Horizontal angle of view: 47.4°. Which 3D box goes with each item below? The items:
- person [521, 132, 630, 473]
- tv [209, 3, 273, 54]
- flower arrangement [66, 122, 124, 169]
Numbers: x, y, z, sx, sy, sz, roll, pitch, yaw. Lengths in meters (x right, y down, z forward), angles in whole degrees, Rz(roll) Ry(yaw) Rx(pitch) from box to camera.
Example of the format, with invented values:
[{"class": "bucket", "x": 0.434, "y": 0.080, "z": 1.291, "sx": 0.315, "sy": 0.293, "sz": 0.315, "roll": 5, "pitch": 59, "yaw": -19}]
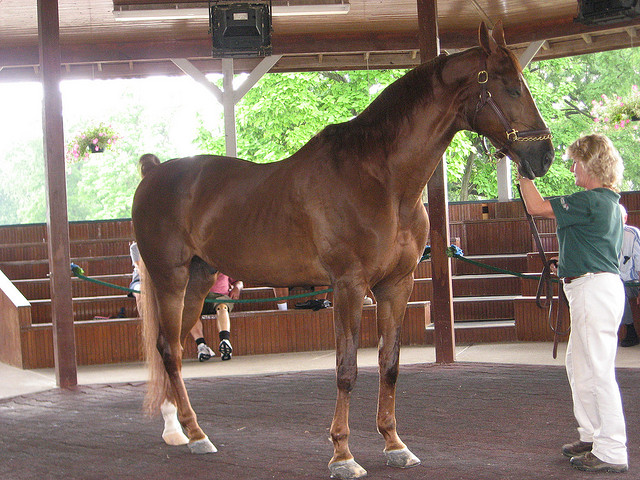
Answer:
[{"class": "person", "x": 1.718, "y": 0.390, "z": 4.789, "sx": 0.543, "sy": 2.165, "sz": 0.385, "roll": -1, "pitch": 3, "yaw": 23}, {"class": "tv", "x": -0.917, "y": -2.449, "z": 8.610, "sx": 0.807, "sy": 0.853, "sz": 0.511, "roll": -1, "pitch": 12, "yaw": -5}, {"class": "flower arrangement", "x": -3.183, "y": -1.362, "z": 10.092, "sx": 0.773, "sy": 0.501, "sz": 0.337, "roll": -2, "pitch": 3, "yaw": 11}]
